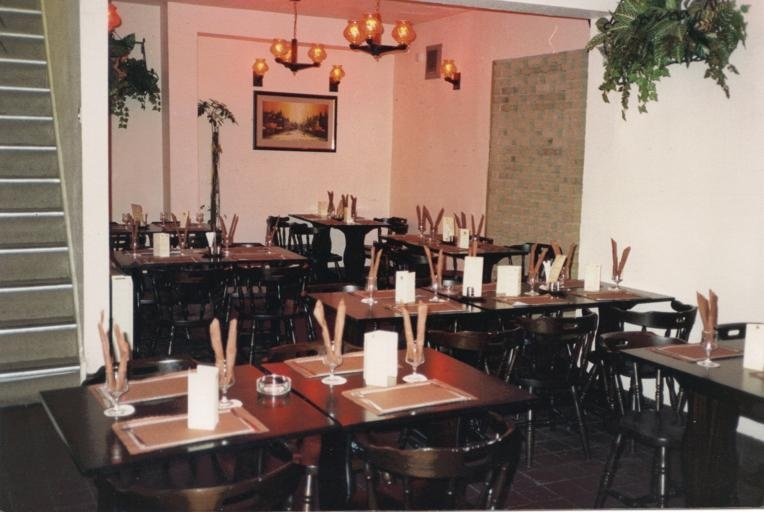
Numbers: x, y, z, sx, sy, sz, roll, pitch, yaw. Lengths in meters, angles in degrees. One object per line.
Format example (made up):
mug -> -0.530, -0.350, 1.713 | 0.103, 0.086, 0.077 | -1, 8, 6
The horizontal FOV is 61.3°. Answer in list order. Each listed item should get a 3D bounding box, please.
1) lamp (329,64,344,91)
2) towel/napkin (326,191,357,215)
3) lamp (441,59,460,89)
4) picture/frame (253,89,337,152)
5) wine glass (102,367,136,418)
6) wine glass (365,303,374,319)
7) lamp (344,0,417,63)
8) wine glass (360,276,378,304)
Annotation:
lamp -> -0.747, -3.007, 10.795 | 0.274, 0.447, 0.739 | -1, 3, -4
towel/napkin -> -0.647, -0.829, 10.506 | 0.299, 0.318, 0.833 | 0, 7, -9
lamp -> 1.038, -2.775, 9.967 | 0.264, 0.438, 0.317 | -3, 5, -27
picture/frame -> -1.525, -2.303, 10.895 | 1.222, 0.759, 0.048 | -1, 6, -23
wine glass -> -1.357, 0.701, 3.327 | 0.161, 0.213, 0.156 | 2, -4, -34
wine glass -> -0.086, 0.420, 4.945 | 0.070, 0.048, 0.102 | -6, 14, -22
lamp -> -0.033, -2.558, 7.503 | 0.702, 0.470, 0.580 | -3, 5, -40
wine glass -> -0.093, 0.279, 5.328 | 0.194, 0.200, 0.202 | 2, 2, -5
